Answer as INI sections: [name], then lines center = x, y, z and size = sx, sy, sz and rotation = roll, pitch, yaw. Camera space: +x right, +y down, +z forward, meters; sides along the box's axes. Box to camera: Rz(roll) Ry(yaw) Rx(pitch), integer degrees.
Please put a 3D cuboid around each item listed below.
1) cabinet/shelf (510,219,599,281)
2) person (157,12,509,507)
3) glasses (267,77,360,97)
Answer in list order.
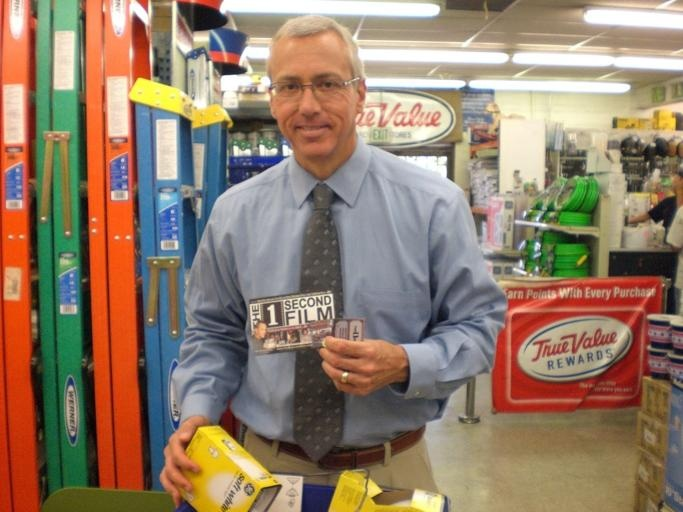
[cabinet/shelf]
center = 2.150, -0.040, 6.157
size = 0.488, 0.679, 1.129
rotation = -1, 12, -6
[person]
center = -0.057, 0.009, 2.578
size = 1.350, 1.942, 0.676
rotation = -3, 11, -12
[glasses]
center = -0.110, -0.695, 2.581
size = 0.373, 0.083, 0.121
rotation = 0, 12, 0
